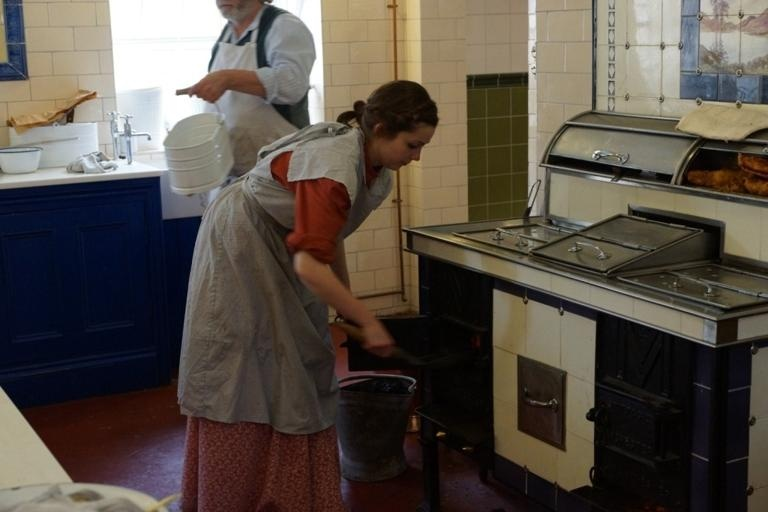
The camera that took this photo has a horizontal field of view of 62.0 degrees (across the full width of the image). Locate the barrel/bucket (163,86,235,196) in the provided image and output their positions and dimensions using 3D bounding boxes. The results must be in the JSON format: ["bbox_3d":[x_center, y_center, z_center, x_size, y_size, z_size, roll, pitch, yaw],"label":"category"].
[{"bbox_3d":[-1.059,-0.657,3.820,0.367,0.513,0.509,6,35,12],"label":"barrel/bucket"}]
